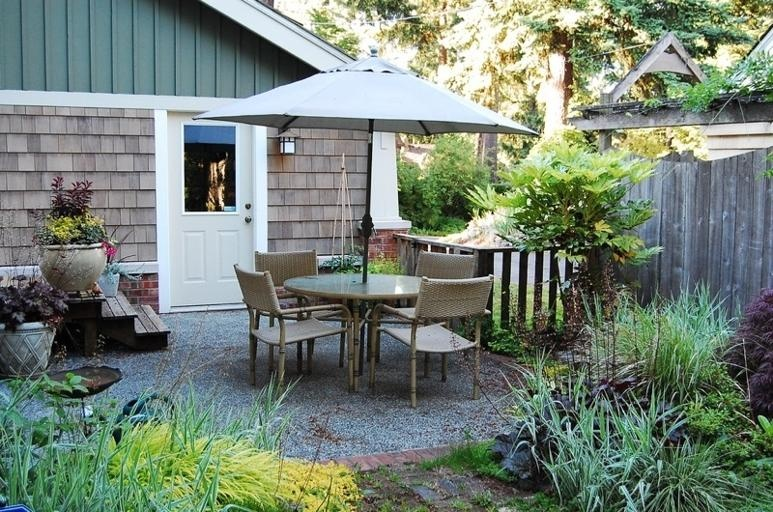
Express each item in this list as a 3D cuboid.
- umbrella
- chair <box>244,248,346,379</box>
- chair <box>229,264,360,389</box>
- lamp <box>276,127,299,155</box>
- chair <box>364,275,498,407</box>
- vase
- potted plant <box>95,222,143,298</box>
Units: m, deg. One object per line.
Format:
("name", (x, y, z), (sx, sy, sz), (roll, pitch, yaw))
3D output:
("umbrella", (-0.181, -0.459, 6.796), (2.572, 2.035, 2.714), (2, 1, -6))
("chair", (-0.896, 0.652, 6.075), (0.834, 1.254, 0.735), (-9, 13, -35))
("chair", (-0.886, 0.698, 6.090), (0.930, 1.258, 0.813), (-4, 8, -33))
("lamp", (-1.308, -1.536, 8.591), (0.298, 0.407, 0.307), (-2, 8, -8))
("chair", (0.433, 0.731, 6.075), (0.973, 1.204, 1.166), (-3, 7, -39))
("vase", (-3.463, 0.085, 7.024), (0.750, 0.612, 0.780), (2, 7, -26))
("potted plant", (-3.252, 0.157, 7.759), (0.486, 0.775, 0.742), (1, -3, 33))
